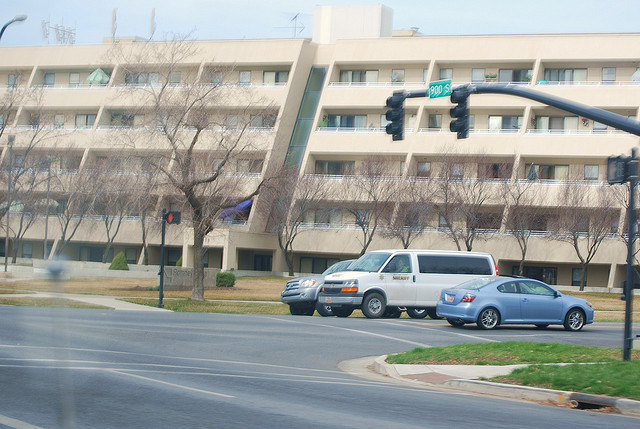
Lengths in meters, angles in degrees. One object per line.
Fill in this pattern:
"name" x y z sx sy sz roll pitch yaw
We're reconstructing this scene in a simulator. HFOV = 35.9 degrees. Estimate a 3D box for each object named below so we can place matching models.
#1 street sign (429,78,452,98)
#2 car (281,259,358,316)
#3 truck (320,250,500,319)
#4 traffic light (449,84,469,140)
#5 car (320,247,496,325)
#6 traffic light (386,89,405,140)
"street sign" 5.160 -5.398 42.554 0.965 0.716 1.668 2 5 6
"car" 0.940 3.903 51.267 6.356 2.697 2.810 9 -13 -40
"truck" 3.801 3.402 48.405 9.611 3.176 3.421 2 -3 -26
"traffic light" 5.881 -4.367 41.898 0.657 2.224 0.785 0 6 -17
"car" 4.352 3.455 50.097 8.853 3.227 3.978 2 -3 -27
"traffic light" 3.242 -4.313 43.076 0.745 2.099 0.739 2 5 3
